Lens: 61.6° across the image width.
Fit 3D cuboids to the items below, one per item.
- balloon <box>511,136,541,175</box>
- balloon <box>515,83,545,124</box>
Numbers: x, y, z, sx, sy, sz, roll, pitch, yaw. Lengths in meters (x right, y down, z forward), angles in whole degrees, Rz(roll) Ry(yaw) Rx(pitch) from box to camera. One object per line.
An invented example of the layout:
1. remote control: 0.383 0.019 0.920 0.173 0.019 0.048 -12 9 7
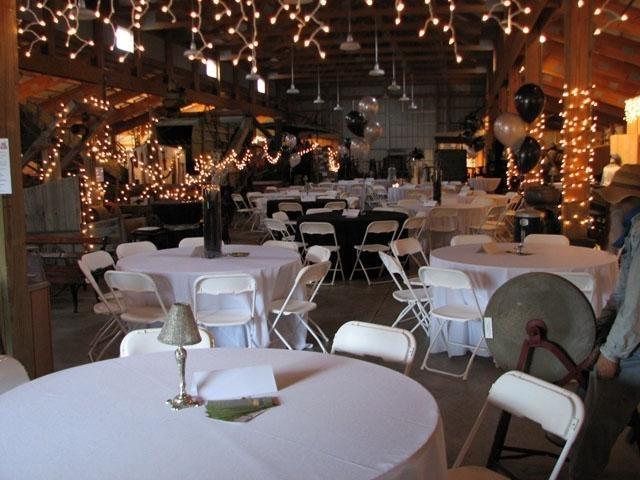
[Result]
1. balloon: 2.849 -1.195 7.444 0.355 0.488 0.345 4 13 22
2. balloon: 2.983 -1.975 7.674 0.357 0.567 0.543 5 14 27
